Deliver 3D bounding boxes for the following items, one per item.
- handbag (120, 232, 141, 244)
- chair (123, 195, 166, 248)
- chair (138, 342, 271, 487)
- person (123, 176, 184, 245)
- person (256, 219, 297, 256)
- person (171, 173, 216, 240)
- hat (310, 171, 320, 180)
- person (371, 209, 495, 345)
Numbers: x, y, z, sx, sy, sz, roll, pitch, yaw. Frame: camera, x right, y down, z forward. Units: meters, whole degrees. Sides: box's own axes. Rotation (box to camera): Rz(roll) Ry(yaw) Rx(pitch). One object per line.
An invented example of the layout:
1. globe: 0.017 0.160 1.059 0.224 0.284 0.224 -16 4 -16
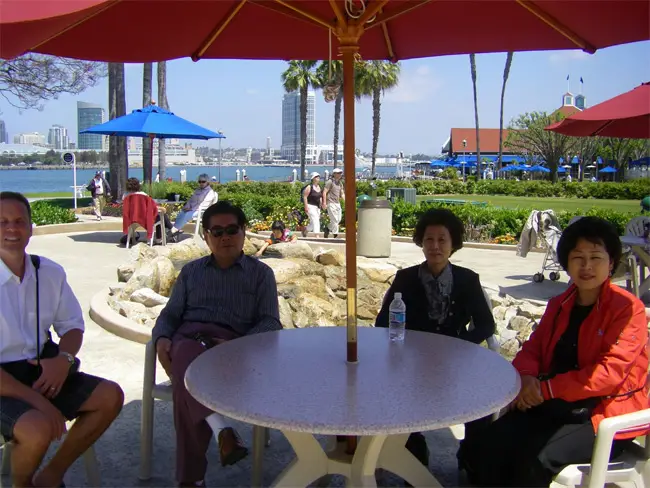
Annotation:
1. handbag: -5.100 -0.143 13.548 0.814 0.380 0.294 8 7 41
2. chair: -4.466 -0.604 12.627 0.928 1.250 0.970 -2 -1 28
3. chair: -0.838 1.075 3.482 0.758 1.034 1.004 0 2 -23
4. person: -4.395 -0.685 12.646 0.991 1.501 0.912 2 6 -9
5. person: -0.883 -0.146 8.939 0.454 0.325 0.721 4 19 16
6. person: -3.516 -1.020 13.533 1.197 1.688 0.686 -1 20 -37
7. hat: -0.283 -1.929 14.249 0.232 0.132 0.328 -6 0 -9
8. person: 0.792 0.320 3.961 0.926 1.326 0.853 -1 -26 8
